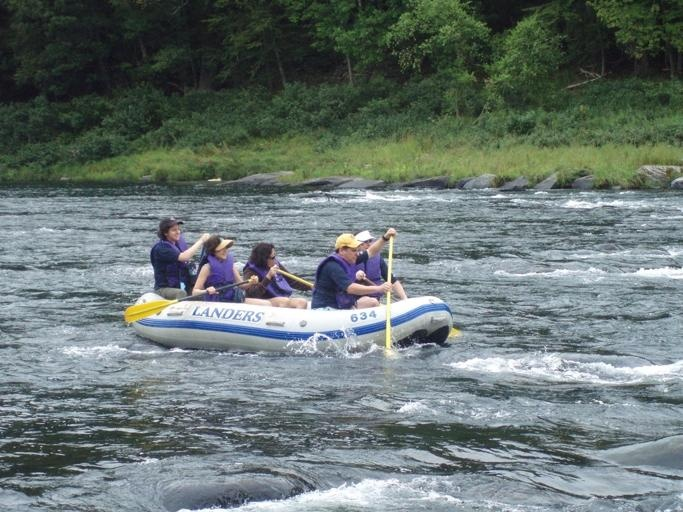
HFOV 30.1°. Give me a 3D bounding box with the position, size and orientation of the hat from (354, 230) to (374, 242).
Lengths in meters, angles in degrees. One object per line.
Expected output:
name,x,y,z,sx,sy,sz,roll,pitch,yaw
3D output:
hat,0.577,-0.464,30.786,0.320,0.135,0.432,4,12,33

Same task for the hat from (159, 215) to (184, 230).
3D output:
hat,-4.227,-0.708,31.098,0.583,0.390,0.311,-5,7,-8

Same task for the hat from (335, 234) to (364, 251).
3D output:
hat,0.168,-0.355,30.363,0.568,0.247,0.359,-1,5,-10

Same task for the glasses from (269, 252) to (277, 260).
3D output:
glasses,-1.700,0.002,30.892,0.218,0.085,0.246,2,15,9
